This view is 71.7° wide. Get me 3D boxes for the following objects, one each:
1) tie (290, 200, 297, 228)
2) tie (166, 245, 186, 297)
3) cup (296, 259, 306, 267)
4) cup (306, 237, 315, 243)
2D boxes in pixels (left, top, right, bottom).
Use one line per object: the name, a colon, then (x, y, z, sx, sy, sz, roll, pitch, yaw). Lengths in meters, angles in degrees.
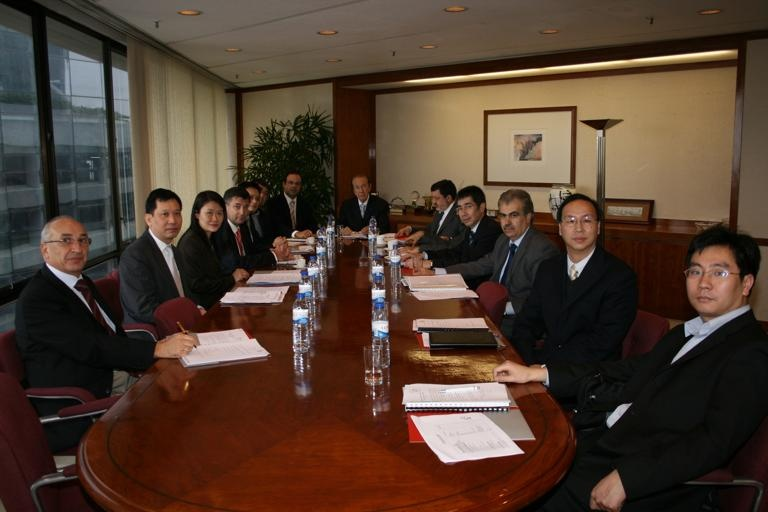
tie: (-1.362, -0.643, 8.043, 0.088, 0.396, 0.108, -4, -8, 23)
tie: (-1.797, 0.112, 4.601, 0.106, 0.365, 0.271, -6, -6, 15)
cup: (-0.678, 0.048, 4.305, 0.075, 0.060, 0.074, -2, 7, 0)
cup: (-0.878, -0.194, 6.348, 0.075, 0.055, 0.073, -2, -2, 0)
